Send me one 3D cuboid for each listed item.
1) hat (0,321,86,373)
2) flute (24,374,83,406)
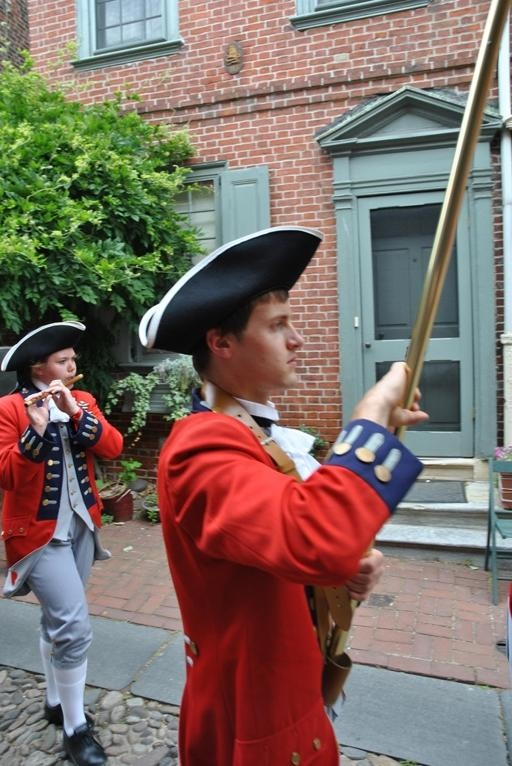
[{"bbox_3d":[-0.970,-0.175,3.196,0.314,0.082,0.258,-27,10,-22],"label":"hat"},{"bbox_3d":[-0.928,0.032,3.168,0.062,0.049,0.381,-32,1,22],"label":"flute"}]
